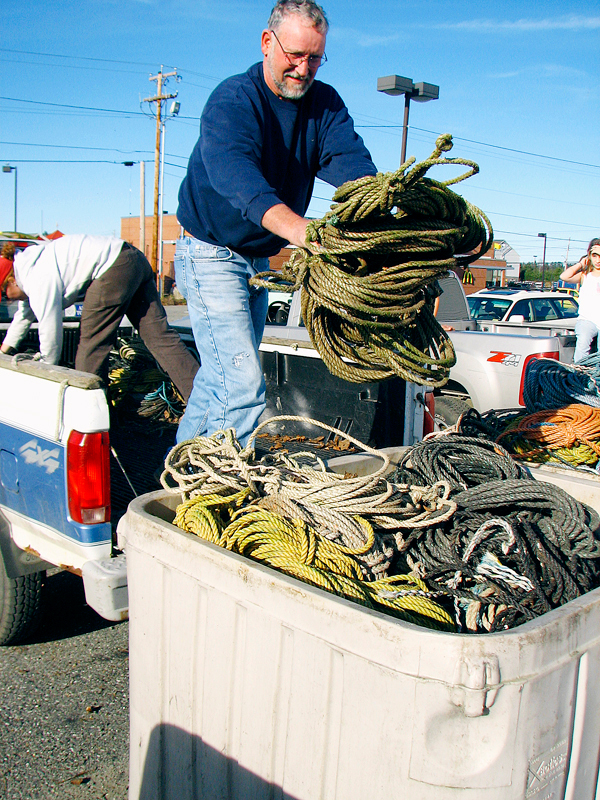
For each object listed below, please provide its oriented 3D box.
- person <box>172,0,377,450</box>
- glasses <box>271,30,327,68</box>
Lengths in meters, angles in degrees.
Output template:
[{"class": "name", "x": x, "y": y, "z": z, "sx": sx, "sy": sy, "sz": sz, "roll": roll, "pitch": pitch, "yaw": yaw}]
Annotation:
[{"class": "person", "x": -0.137, "y": -0.613, "z": 3.115, "sx": 0.742, "sy": 1.724, "sz": 1.338, "roll": 3, "pitch": 8, "yaw": -9}, {"class": "glasses", "x": -0.011, "y": -1.290, "z": 2.790, "sx": 0.192, "sy": 0.110, "sz": 0.140, "roll": 3, "pitch": 8, "yaw": -3}]
